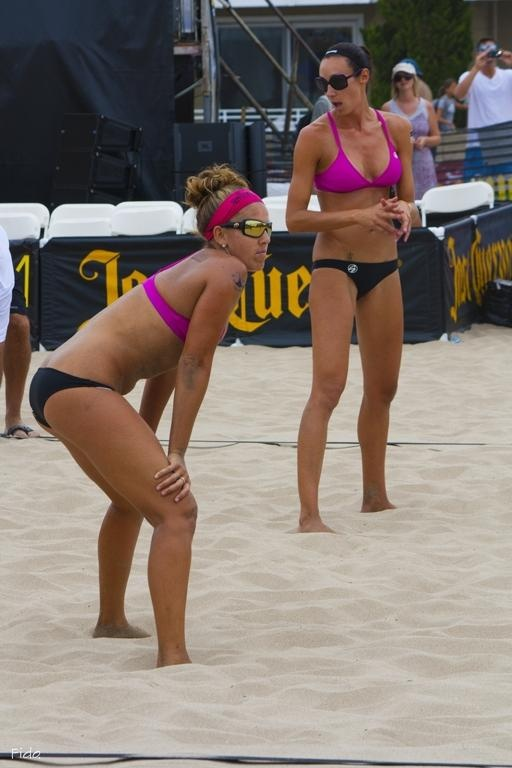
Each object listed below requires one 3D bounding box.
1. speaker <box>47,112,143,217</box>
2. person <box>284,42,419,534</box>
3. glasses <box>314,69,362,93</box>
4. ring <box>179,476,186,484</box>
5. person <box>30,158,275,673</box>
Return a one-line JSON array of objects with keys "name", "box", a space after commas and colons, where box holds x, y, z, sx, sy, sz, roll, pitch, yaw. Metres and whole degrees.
[{"name": "speaker", "box": [-1.824, -2.395, 12.560, 0.985, 1.336, 1.764, 3, -3, -20]}, {"name": "person", "box": [0.368, -0.352, 4.123, 0.493, 1.814, 0.519, -2, 8, 3]}, {"name": "glasses", "box": [0.287, -1.093, 3.892, 0.088, 0.036, 0.085, 1, 26, 36]}, {"name": "ring", "box": [-0.179, 0.236, 2.671, 0.006, 0.013, 0.017, -26, 52, -30]}, {"name": "person", "box": [-0.283, 0.096, 2.877, 0.557, 1.329, 0.517, 1, 9, 27]}]
